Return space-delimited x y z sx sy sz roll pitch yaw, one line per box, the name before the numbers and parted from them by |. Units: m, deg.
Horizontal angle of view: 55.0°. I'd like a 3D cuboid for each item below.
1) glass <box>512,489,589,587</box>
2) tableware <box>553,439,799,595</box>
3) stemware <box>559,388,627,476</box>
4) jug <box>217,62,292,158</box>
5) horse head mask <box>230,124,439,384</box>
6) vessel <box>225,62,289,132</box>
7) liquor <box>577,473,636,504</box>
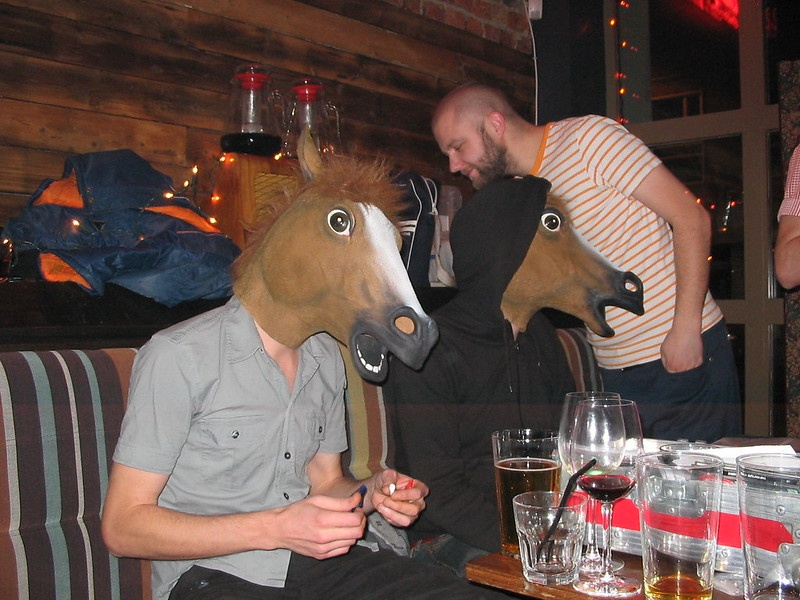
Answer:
glass | 0.323 0.517 1.628 0.150 0.176 0.066 0 -1 7
tableware | 0.734 0.491 1.798 0.389 0.350 0.138 5 -9 36
stemware | 0.445 0.322 1.774 0.155 0.174 0.146 0 -3 41
jug | -0.540 -0.723 2.939 0.246 0.329 0.228 -5 14 -16
horse head mask | -0.172 -0.104 1.830 0.506 0.594 0.158 -1 -1 25
vessel | -0.540 -0.732 2.916 0.179 0.265 0.289 -18 40 -42
liquor | 0.451 0.415 1.666 0.123 0.061 0.090 0 -1 -1
